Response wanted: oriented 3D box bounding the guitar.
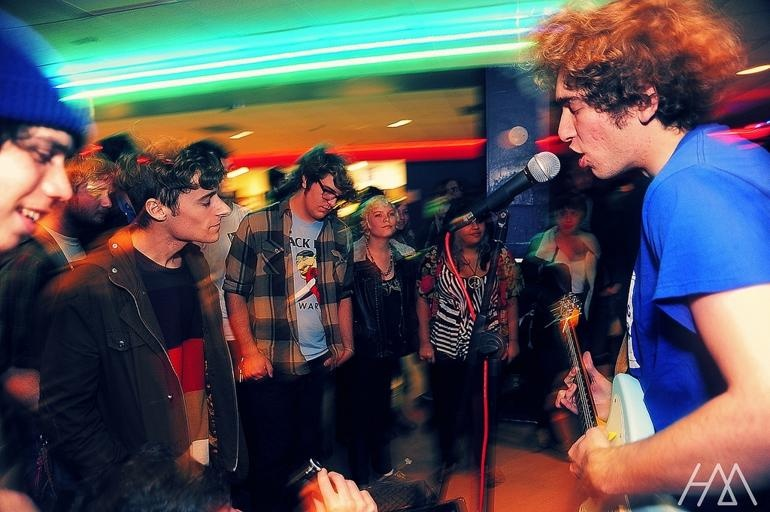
[{"bbox_3d":[0.891,0.553,2.253,0.179,0.488,1.296,11,-14,25],"label":"guitar"}]
